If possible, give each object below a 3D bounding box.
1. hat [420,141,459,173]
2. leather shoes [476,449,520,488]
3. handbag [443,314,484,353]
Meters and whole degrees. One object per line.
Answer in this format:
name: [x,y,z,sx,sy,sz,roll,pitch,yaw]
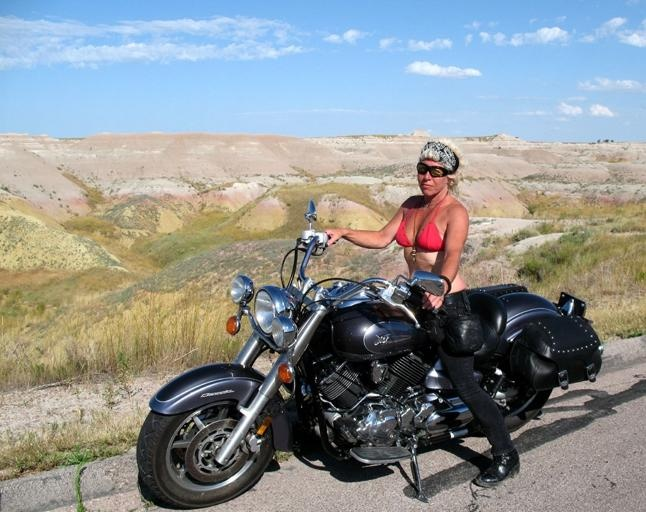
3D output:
hat: [1.027,-0.868,4.337,0.361,0.275,0.241,10,29,11]
leather shoes: [1.558,1.868,4.400,0.591,0.234,0.190,-3,-8,-34]
handbag: [1.125,0.638,4.009,0.350,0.282,0.315,-2,-11,-5]
